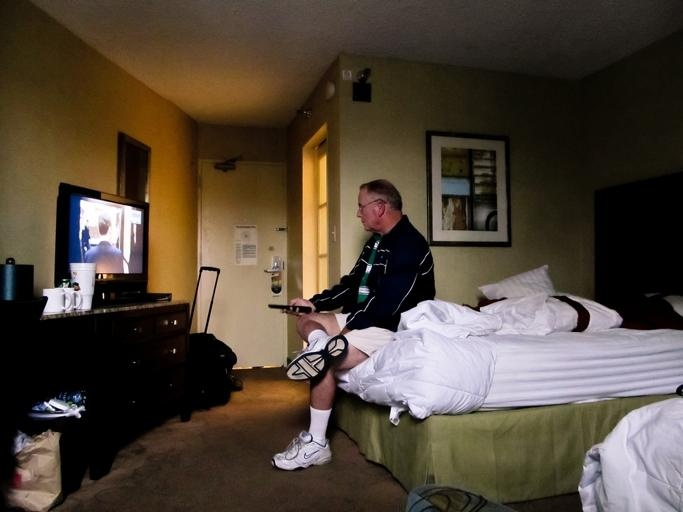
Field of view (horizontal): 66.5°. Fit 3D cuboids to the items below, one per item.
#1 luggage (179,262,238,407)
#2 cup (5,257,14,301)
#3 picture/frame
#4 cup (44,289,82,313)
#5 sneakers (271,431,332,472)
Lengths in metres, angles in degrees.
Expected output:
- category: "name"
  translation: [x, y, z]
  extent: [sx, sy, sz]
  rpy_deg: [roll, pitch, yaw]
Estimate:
- category: "luggage"
  translation: [-1.040, 0.697, 4.265]
  extent: [0.391, 1.010, 0.424]
  rpy_deg: [21, 0, 8]
- category: "cup"
  translation: [-1.736, 0.132, 2.718]
  extent: [0.052, 0.177, 0.027]
  rpy_deg: [-1, 1, -5]
- category: "picture/frame"
  translation: [0.994, -0.533, 4.192]
  extent: [0.895, 1.122, 0.042]
  rpy_deg: [1, -5, -16]
- category: "cup"
  translation: [-1.567, 0.238, 2.866]
  extent: [0.132, 0.127, 0.262]
  rpy_deg: [-1, 1, 4]
- category: "sneakers"
  translation: [-0.223, 1.122, 3.024]
  extent: [0.339, 0.190, 0.157]
  rpy_deg: [4, -12, -24]
